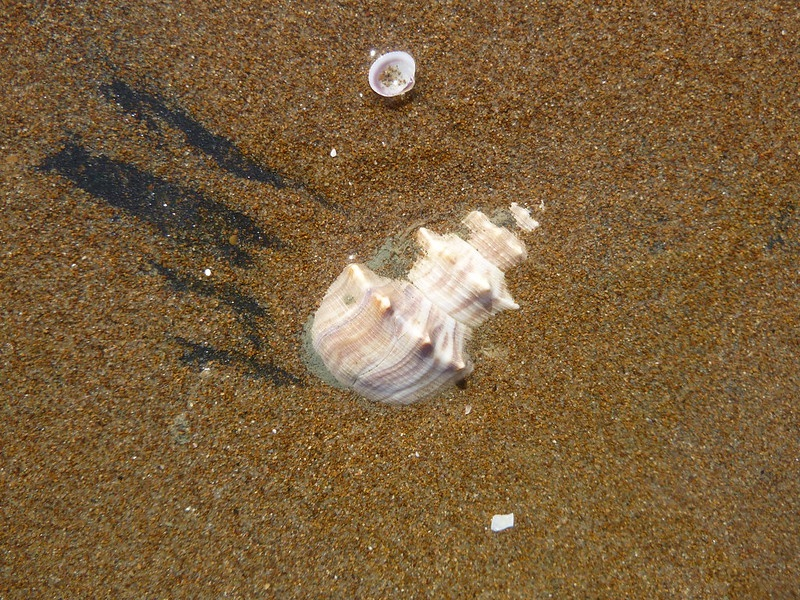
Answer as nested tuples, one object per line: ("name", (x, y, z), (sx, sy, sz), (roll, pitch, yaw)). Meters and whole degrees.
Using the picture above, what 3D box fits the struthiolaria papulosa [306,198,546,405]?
("struthiolaria papulosa", (0.125, 0.095, 5.035), (1.395, 0.323, 0.912), (-30, 79, -5))
